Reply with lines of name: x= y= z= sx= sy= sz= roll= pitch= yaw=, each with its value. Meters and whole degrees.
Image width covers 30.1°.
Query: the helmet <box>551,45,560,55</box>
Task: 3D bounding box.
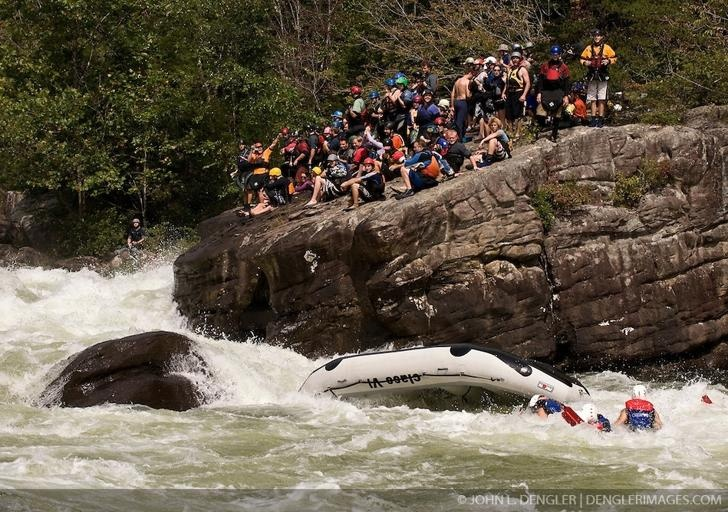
helmet: x=5.456 y=-5.832 z=38.701 sx=0.200 sy=0.246 sz=0.240 roll=2 pitch=-2 yaw=4

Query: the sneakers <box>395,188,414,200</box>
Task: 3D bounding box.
sneakers: x=1.021 y=-1.715 z=37.937 sx=0.667 sy=0.278 sz=0.225 roll=-2 pitch=21 yaw=20

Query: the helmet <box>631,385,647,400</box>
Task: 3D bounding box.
helmet: x=6.903 y=3.372 z=33.882 sx=0.329 sy=0.385 sz=0.429 roll=1 pitch=22 yaw=3

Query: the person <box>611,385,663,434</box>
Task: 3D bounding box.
person: x=6.831 y=3.895 z=33.930 sx=1.277 sy=0.529 sz=1.678 roll=2 pitch=38 yaw=14

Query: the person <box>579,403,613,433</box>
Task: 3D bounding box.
person: x=5.751 y=4.048 z=33.778 sx=0.569 sy=0.741 sz=0.307 roll=-40 pitch=-13 yaw=3

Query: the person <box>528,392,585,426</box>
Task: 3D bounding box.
person: x=4.772 y=3.827 z=34.120 sx=1.043 sy=0.369 sz=0.664 roll=17 pitch=-6 yaw=-1
